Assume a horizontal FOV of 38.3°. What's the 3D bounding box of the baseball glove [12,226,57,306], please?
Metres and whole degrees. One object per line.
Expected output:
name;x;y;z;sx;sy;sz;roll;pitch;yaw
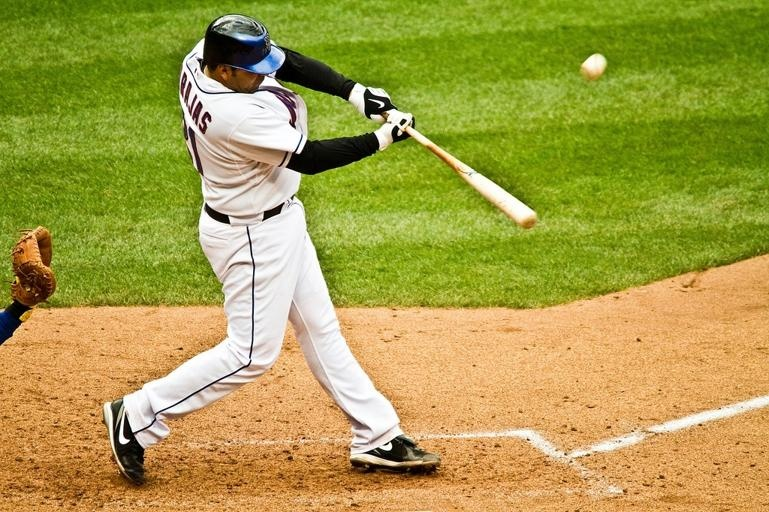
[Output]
baseball glove;-2.644;0.212;8.205;0.145;0.454;0.342;-14;58;-35

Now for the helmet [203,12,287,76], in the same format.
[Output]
helmet;-0.986;-1.460;7.617;0.572;0.226;0.365;10;40;5
